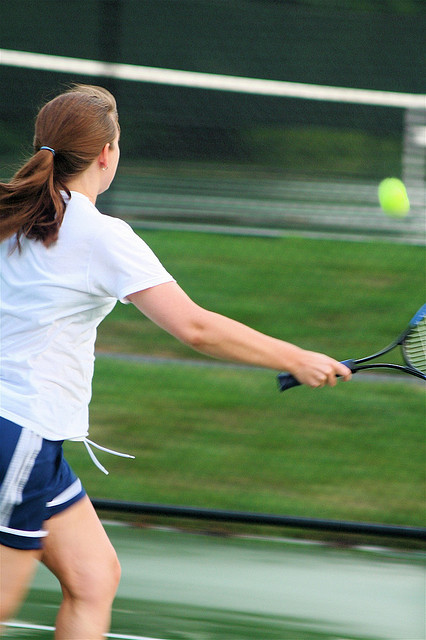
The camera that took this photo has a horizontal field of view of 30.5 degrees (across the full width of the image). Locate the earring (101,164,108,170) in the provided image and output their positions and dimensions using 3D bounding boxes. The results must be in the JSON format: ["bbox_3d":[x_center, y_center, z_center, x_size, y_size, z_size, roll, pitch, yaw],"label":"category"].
[{"bbox_3d":[-0.288,-0.405,2.074,0.006,0.011,0.021,17,19,37],"label":"earring"}]

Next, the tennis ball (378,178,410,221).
[{"bbox_3d":[0.727,-0.491,3.137,0.114,0.150,0.156,5,14,4],"label":"tennis ball"}]

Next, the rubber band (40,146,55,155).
[{"bbox_3d":[-0.427,-0.433,2.001,0.021,0.005,0.021,35,18,30],"label":"rubber band"}]
